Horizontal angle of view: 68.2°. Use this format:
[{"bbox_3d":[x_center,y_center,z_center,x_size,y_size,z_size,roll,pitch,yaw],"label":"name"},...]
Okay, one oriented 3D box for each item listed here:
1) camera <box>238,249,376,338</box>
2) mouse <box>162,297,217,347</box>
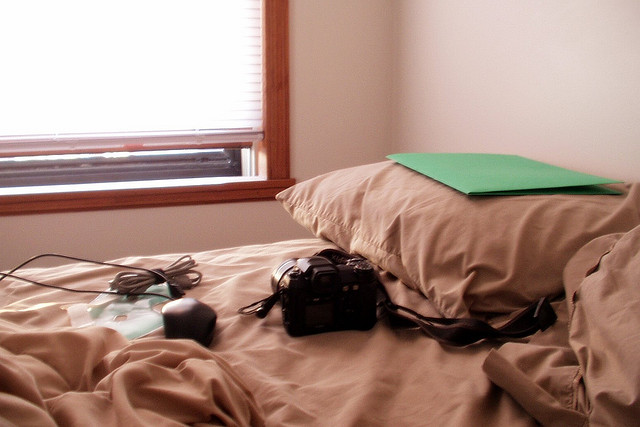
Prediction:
[{"bbox_3d":[0.014,0.194,1.098,0.262,0.104,0.233,-5,13,-10],"label":"camera"},{"bbox_3d":[-0.287,0.239,1.103,0.120,0.087,0.110,10,22,22],"label":"mouse"}]
